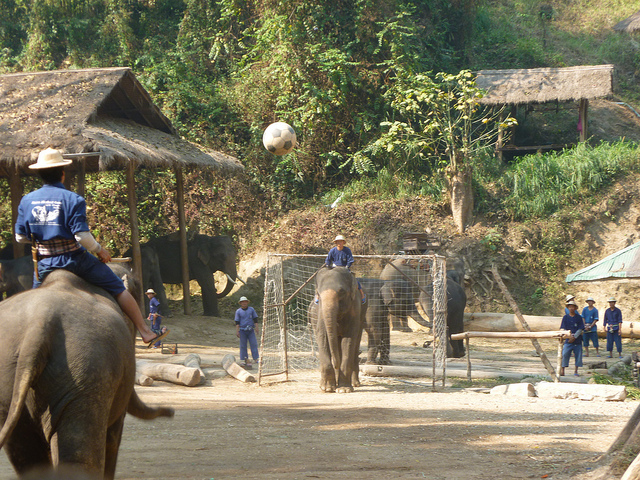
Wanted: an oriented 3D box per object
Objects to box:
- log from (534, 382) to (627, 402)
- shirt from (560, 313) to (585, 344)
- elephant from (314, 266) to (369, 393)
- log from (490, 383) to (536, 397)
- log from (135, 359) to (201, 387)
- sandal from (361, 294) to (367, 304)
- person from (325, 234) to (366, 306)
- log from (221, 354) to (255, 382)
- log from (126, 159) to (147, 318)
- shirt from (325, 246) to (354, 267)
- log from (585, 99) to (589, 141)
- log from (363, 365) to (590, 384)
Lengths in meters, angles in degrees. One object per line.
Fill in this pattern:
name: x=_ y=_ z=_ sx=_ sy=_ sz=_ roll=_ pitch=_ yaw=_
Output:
log: x=7.872 y=4.681 z=43.012 sx=2.684 sy=0.480 sz=0.388 roll=1 pitch=2 yaw=7
shirt: x=8.001 y=2.888 z=45.124 sx=0.964 sy=1.151 sz=0.502 roll=1 pitch=-18 yaw=5
elephant: x=0.658 y=2.712 z=44.756 sx=1.729 sy=3.611 sz=1.582 roll=0 pitch=3 yaw=-2
log: x=5.904 y=4.622 z=43.369 sx=1.342 sy=0.405 sz=0.300 roll=1 pitch=3 yaw=14
log: x=-4.568 y=4.054 z=43.706 sx=3.365 sy=0.774 sz=0.798 roll=2 pitch=-12 yaw=29
sandal: x=1.396 y=1.920 z=45.145 sx=0.106 sy=0.303 sz=0.133 roll=8 pitch=-26 yaw=8
person: x=0.839 y=0.990 z=45.088 sx=1.020 sy=2.442 sz=0.936 roll=-2 pitch=2 yaw=12
log: x=-2.620 y=4.157 z=44.683 sx=0.240 sy=0.427 sz=1.643 roll=35 pitch=3 yaw=-43
log: x=-6.203 y=0.006 z=47.723 sx=0.594 sy=5.670 sz=0.536 roll=1 pitch=5 yaw=30
shirt: x=0.607 y=0.603 z=44.992 sx=1.086 sy=0.811 sz=0.570 roll=1 pitch=-9 yaw=-1
log: x=10.927 y=-4.919 z=58.411 sx=0.113 sy=1.631 sz=3.027 roll=2 pitch=2 yaw=11
log: x=4.858 y=4.333 z=44.889 sx=6.856 sy=0.457 sz=0.441 roll=1 pitch=30 yaw=-2
